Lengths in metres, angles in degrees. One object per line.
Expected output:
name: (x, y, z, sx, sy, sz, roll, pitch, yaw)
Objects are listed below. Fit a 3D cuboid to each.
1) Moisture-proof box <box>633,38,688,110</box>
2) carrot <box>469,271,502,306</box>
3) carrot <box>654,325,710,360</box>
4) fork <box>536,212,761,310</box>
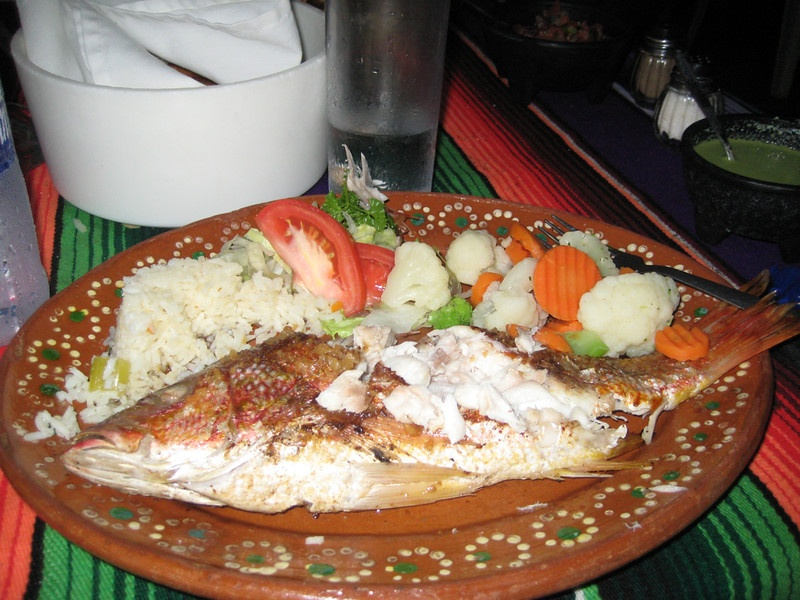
Moisture-proof box: (1.219, -1.093, 3.310, 0.213, 0.330, 0.209, -6, 31, -15)
carrot: (0.284, -0.039, 2.391, 0.036, 0.109, 0.108, 31, 73, -18)
carrot: (0.846, 0.130, 2.163, 0.109, 0.125, 0.038, -11, 30, -1)
fork: (0.830, -0.112, 2.335, 0.567, 0.062, 0.075, 32, 76, 16)
